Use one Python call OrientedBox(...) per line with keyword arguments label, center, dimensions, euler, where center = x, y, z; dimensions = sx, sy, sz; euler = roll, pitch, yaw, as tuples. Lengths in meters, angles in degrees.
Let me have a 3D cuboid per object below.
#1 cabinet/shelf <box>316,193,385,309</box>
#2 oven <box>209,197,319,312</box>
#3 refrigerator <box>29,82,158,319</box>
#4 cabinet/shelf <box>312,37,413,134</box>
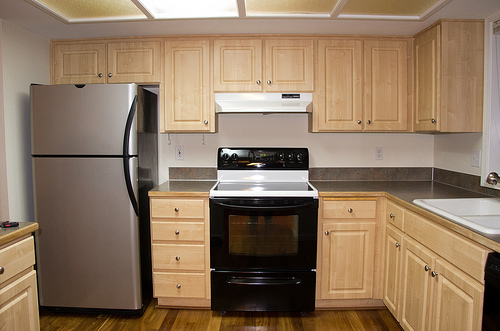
OrientedBox(label="cabinet/shelf", center=(0.945, 0.782, 3.620), dimensions=(0.603, 0.970, 0.166), euler=(2, 7, 11))
OrientedBox(label="oven", center=(0.136, 0.838, 3.924), dimensions=(1.041, 1.118, 0.793), euler=(0, 3, 5))
OrientedBox(label="refrigerator", center=(-1.497, 0.317, 3.618), dimensions=(1.067, 2.142, 0.285), euler=(1, 7, 1))
OrientedBox(label="cabinet/shelf", center=(1.094, -0.834, 3.782), dimensions=(0.950, 0.837, 0.387), euler=(1, 0, 0))
